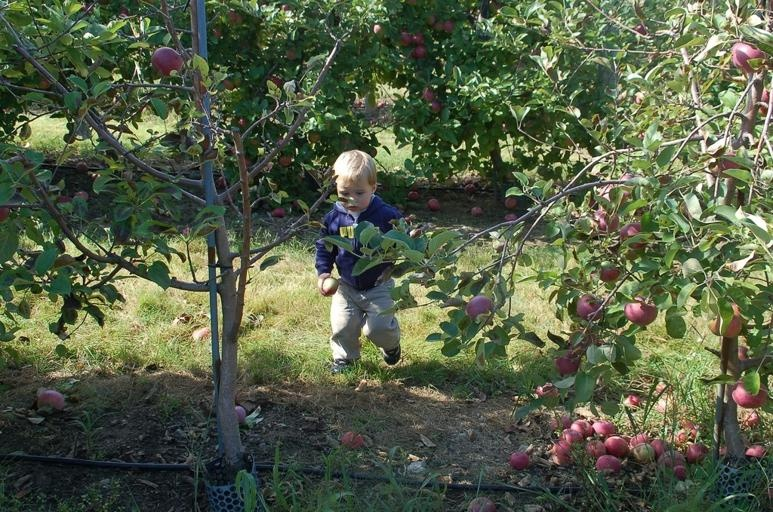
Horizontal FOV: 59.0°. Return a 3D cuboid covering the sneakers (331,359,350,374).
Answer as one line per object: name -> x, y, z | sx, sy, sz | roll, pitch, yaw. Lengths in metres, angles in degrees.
sneakers -> -0.287, 0.696, 4.311 | 0.052, 0.060, 0.143 | 2, 0, 20
